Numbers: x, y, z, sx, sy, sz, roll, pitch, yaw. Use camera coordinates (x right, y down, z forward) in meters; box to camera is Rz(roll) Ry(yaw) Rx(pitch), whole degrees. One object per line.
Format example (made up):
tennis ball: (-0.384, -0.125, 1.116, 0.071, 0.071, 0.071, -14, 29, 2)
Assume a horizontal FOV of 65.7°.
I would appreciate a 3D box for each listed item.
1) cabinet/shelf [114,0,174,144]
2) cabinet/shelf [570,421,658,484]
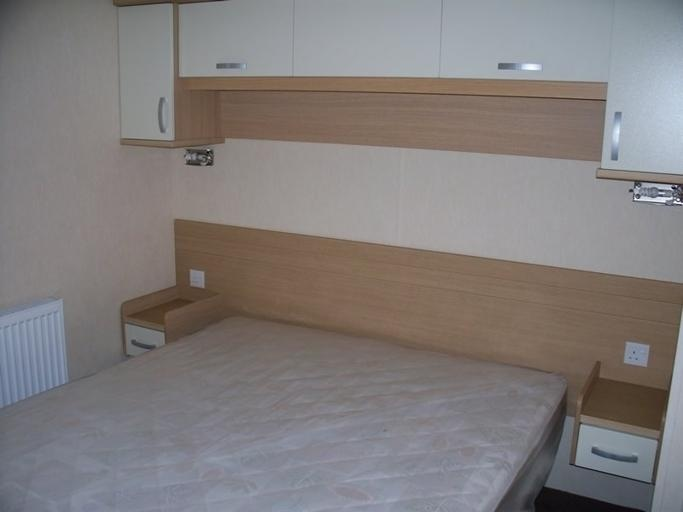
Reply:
cabinet/shelf: (-1.108, -1.021, 2.954, 0.422, 0.716, 0.156, 12, 18, 31)
cabinet/shelf: (1.198, 0.858, 2.315, 0.279, 0.181, 0.279, 5, 3, 24)
